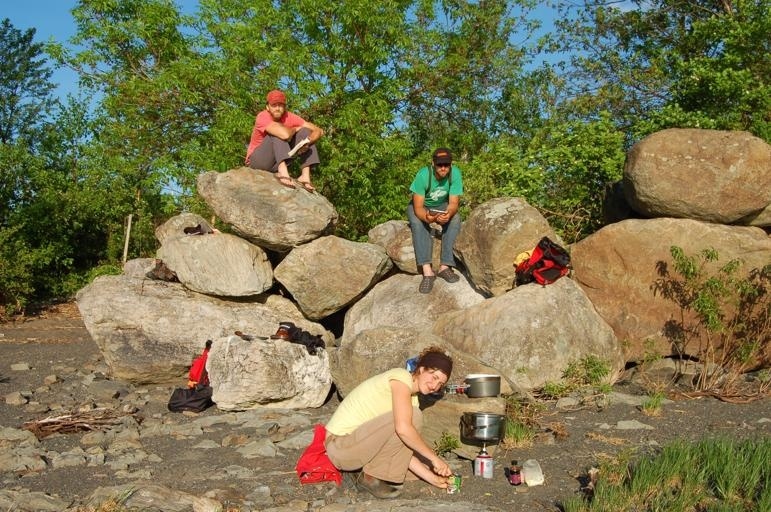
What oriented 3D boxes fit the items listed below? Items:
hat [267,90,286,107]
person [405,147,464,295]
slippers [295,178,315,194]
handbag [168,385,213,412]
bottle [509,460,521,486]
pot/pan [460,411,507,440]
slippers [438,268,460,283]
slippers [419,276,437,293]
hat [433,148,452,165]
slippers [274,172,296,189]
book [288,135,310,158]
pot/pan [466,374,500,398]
[{"bbox_3d":[-2.256,-3.243,15.822,0.336,0.299,0.195,-2,13,4],"label":"hat"},{"bbox_3d":[1.011,-0.753,15.640,1.091,2.844,1.073,-5,14,-6],"label":"person"},{"bbox_3d":[-1.693,-1.471,16.144,0.397,0.109,0.213,39,19,22],"label":"slippers"},{"bbox_3d":[-3.703,2.711,14.467,0.606,0.279,0.481,6,9,22],"label":"handbag"},{"bbox_3d":[1.976,3.329,11.763,0.183,0.343,0.178,-3,14,1],"label":"bottle"},{"bbox_3d":[1.499,2.631,12.099,0.489,0.320,0.514,-4,-12,26],"label":"pot/pan"},{"bbox_3d":[1.270,0.380,15.619,0.240,0.182,0.414,-26,33,-28],"label":"slippers"},{"bbox_3d":[0.815,0.573,15.463,0.190,0.164,0.399,3,46,21],"label":"slippers"},{"bbox_3d":[1.109,-1.967,15.261,0.403,0.317,0.662,0,4,-1],"label":"hat"},{"bbox_3d":[-2.050,-1.547,15.862,0.237,0.135,0.440,-1,23,-42],"label":"slippers"},{"bbox_3d":[-1.801,-2.247,15.996,0.459,0.374,0.157,-4,14,-5],"label":"book"},{"bbox_3d":[1.547,2.078,12.301,0.401,0.254,0.417,-1,-9,12],"label":"pot/pan"}]
